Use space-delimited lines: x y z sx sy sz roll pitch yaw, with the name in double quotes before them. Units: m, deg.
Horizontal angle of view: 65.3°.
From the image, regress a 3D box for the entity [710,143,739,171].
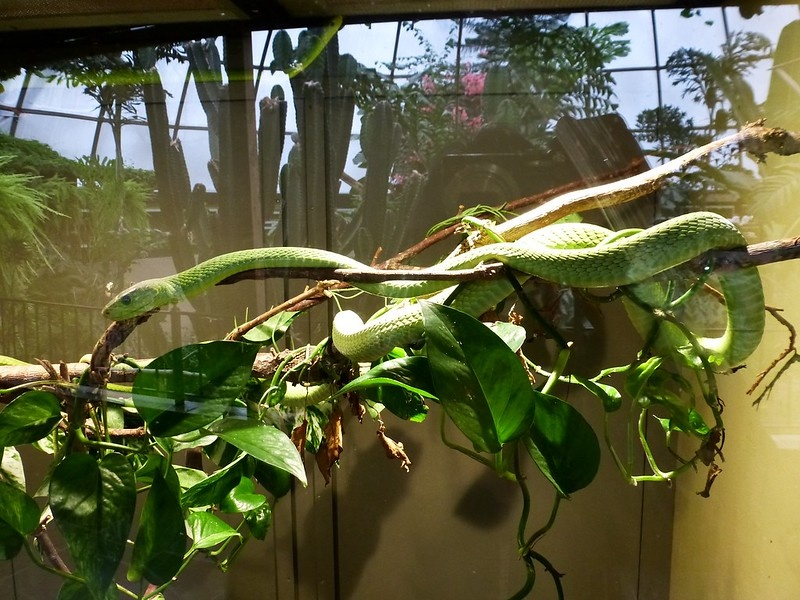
"entity" 0.799 -0.347 1.534 0.014 0.040 0.060 -23 -10 -39
